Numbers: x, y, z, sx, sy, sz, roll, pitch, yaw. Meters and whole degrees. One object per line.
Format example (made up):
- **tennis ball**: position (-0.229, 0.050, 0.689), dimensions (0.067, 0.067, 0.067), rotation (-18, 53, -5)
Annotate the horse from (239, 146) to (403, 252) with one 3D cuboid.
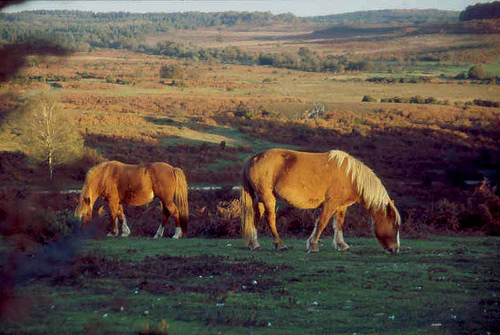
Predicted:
- **horse**: position (4.000, 2.097, 43.565), dimensions (9.340, 6.019, 2.487), rotation (5, 8, 13)
